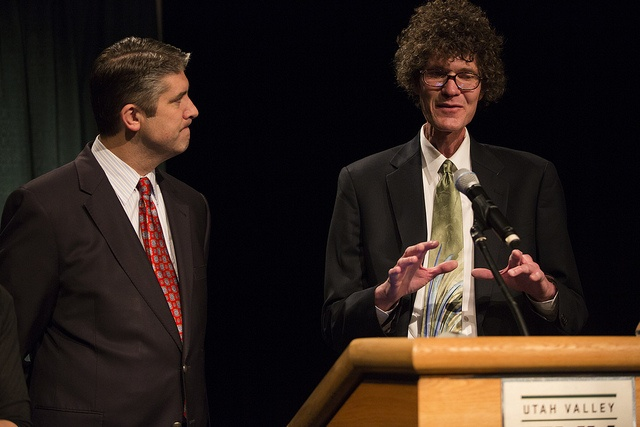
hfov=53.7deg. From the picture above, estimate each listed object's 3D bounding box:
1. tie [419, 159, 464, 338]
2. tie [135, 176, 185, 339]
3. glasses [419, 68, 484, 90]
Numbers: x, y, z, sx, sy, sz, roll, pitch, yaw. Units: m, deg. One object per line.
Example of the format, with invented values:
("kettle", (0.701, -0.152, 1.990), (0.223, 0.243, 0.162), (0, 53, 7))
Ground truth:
("tie", (0.515, 0.146, 2.680), (0.151, 0.730, 0.153), (-1, -6, 2))
("tie", (-0.690, 0.159, 2.687), (0.085, 0.829, 0.138), (-30, -36, 23))
("glasses", (0.559, -0.559, 2.706), (0.233, 0.096, 0.165), (1, 7, 16))
